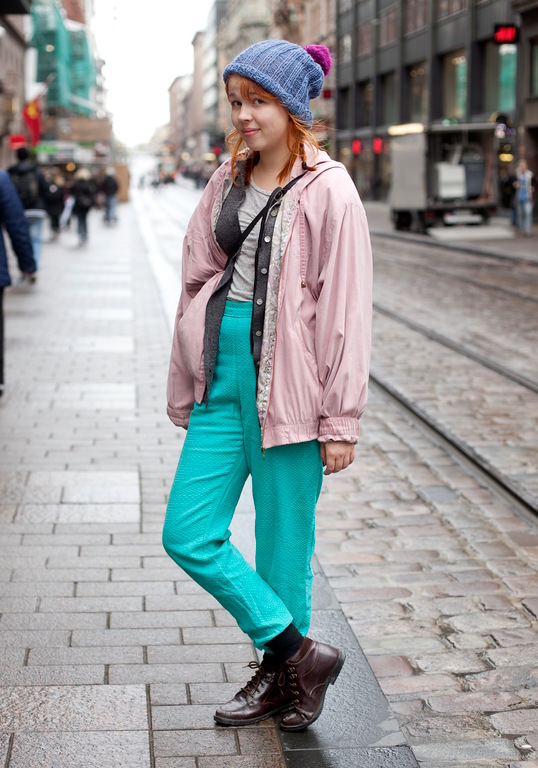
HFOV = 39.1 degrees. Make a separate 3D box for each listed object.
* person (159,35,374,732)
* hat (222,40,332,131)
[{"bbox_3d":[-0.024,0.046,1.729,0.464,1.602,0.410,2,6,0],"label":"person"},{"bbox_3d":[0.024,-0.646,1.644,0.227,0.168,0.181,3,11,-5],"label":"hat"}]
